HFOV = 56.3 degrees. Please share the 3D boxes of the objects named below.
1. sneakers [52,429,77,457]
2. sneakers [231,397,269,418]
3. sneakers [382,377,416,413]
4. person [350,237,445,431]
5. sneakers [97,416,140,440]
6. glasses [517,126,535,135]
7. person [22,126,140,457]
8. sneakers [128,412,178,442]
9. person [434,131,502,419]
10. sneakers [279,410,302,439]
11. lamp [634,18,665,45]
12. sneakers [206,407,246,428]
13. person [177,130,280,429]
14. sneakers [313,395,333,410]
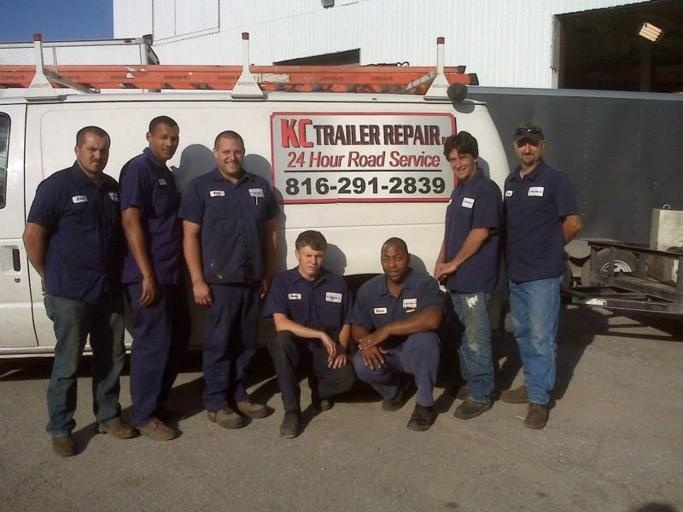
[{"bbox_3d":[-2.279,1.539,5.257,0.201,0.160,0.185,-5,16,-19],"label":"sneakers"},{"bbox_3d":[-0.808,1.391,5.823,0.274,0.118,0.150,3,5,27],"label":"sneakers"},{"bbox_3d":[0.562,1.320,6.132,0.157,0.222,0.494,-2,-7,21],"label":"sneakers"},{"bbox_3d":[0.481,0.656,5.747,0.840,1.593,0.604,5,15,20],"label":"person"},{"bbox_3d":[-1.921,1.464,5.500,0.312,0.147,0.164,-1,-1,21],"label":"sneakers"},{"bbox_3d":[1.658,-1.099,5.681,0.087,0.042,0.121,-1,3,24],"label":"glasses"},{"bbox_3d":[-2.148,0.268,5.302,0.775,2.580,0.674,-7,16,-27],"label":"person"},{"bbox_3d":[-1.567,1.459,5.491,0.308,0.130,0.178,4,7,17],"label":"sneakers"},{"bbox_3d":[1.130,0.176,5.763,0.568,2.477,0.678,3,14,13],"label":"person"},{"bbox_3d":[-0.441,1.441,5.578,0.179,0.173,0.269,0,15,-2],"label":"sneakers"},{"bbox_3d":[6.170,-4.485,12.816,0.327,0.355,0.699,14,20,42],"label":"lamp"},{"bbox_3d":[-1.022,1.410,5.660,0.284,0.119,0.159,-1,-3,37],"label":"sneakers"},{"bbox_3d":[-0.940,0.212,5.606,0.808,2.505,0.626,-5,15,-18],"label":"person"},{"bbox_3d":[-0.180,1.371,5.991,0.119,0.099,0.123,1,-8,-4],"label":"sneakers"}]
